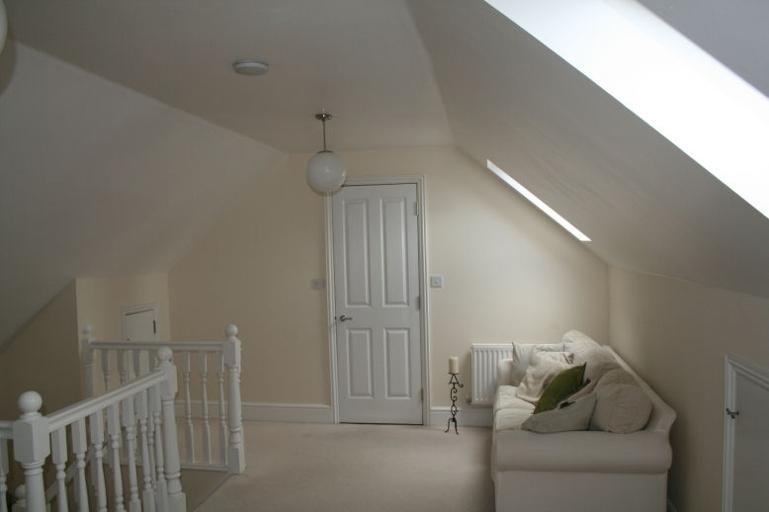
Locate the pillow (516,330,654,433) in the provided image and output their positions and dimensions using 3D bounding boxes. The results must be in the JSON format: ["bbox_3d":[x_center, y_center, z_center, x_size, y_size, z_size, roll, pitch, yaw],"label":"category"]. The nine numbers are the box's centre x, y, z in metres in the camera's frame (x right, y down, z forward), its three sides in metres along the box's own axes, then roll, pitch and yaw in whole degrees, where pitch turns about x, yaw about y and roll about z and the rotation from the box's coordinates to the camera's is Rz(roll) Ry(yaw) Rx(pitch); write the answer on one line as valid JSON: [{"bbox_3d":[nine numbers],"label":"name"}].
[{"bbox_3d":[1.438,0.985,4.040,0.494,0.262,0.983,-10,1,8],"label":"pillow"}]

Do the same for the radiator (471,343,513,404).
[{"bbox_3d":[1.059,1.130,5.500,0.565,0.587,0.146,-2,2,8],"label":"radiator"}]

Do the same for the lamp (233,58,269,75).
[{"bbox_3d":[-0.850,-1.192,3.592,0.227,0.059,0.250,-3,8,-13],"label":"lamp"}]
